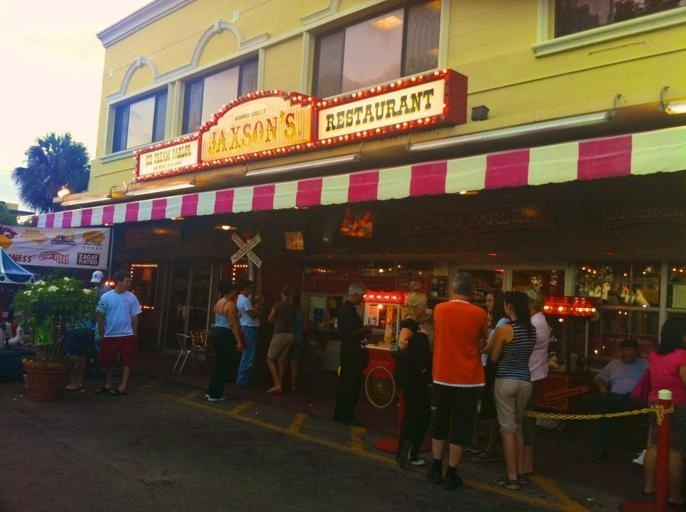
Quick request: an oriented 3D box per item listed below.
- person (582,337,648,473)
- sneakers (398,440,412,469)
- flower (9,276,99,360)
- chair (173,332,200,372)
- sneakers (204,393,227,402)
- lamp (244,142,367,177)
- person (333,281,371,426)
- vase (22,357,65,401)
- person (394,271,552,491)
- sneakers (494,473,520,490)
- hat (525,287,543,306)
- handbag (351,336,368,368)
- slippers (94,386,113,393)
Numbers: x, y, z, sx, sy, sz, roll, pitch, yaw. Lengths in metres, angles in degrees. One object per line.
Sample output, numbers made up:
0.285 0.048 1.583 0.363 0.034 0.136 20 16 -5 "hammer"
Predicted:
3.791 1.932 7.711 0.922 1.076 0.534 4 -1 -26 "person"
0.714 2.318 6.583 0.143 0.319 0.131 2 -10 25 "sneakers"
-4.993 0.998 9.350 1.111 1.168 0.934 7 -1 -26 "flower"
-3.914 2.439 13.958 0.697 0.984 0.796 4 -9 -2 "chair"
-2.223 2.413 9.542 0.375 0.164 0.139 1 2 -22 "sneakers"
-0.825 -1.693 10.454 0.407 0.336 2.761 4 -1 -45 "lamp"
0.131 1.509 8.792 0.485 1.865 0.433 3 -1 13 "person"
-4.813 1.936 8.822 0.620 0.530 0.629 1 -7 5 "vase"
1.611 1.411 6.392 1.193 1.856 0.418 4 -1 -15 "person"
1.884 2.574 6.384 0.101 0.109 0.260 6 -8 -37 "sneakers"
2.401 0.504 6.934 0.173 0.222 0.230 -21 38 -12 "hat"
0.274 1.500 8.753 0.182 0.468 0.328 4 -20 -4 "handbag"
-4.195 2.315 9.648 0.318 0.127 0.170 5 -8 -4 "slippers"
